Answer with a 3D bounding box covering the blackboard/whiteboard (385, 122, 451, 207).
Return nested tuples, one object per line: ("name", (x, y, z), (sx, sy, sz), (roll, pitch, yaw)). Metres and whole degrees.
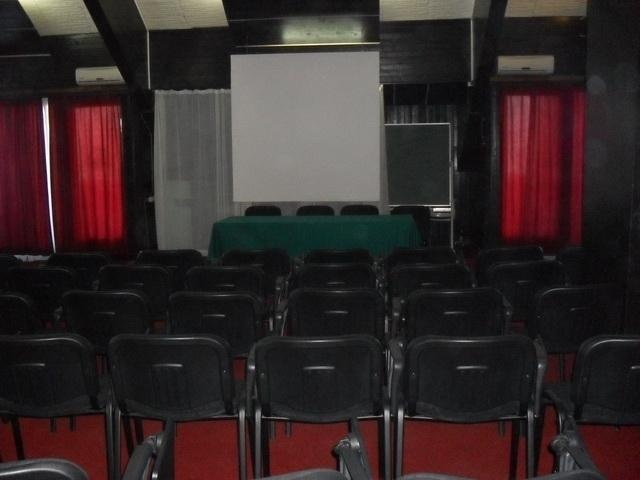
("blackboard/whiteboard", (1.680, -1.273, 9.553), (1.296, 0.139, 1.826), (0, -85, 6))
